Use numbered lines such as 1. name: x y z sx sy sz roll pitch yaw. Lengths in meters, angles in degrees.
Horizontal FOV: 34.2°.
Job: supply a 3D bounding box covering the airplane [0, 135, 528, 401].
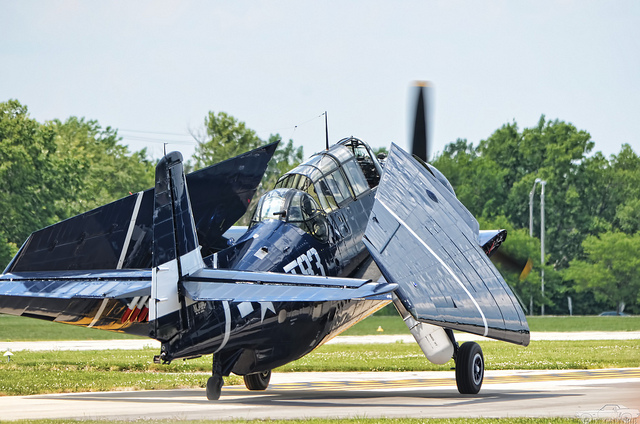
1. airplane: -1.666 1.953 42.077 15.149 6.546 13.699 1 -1 39
